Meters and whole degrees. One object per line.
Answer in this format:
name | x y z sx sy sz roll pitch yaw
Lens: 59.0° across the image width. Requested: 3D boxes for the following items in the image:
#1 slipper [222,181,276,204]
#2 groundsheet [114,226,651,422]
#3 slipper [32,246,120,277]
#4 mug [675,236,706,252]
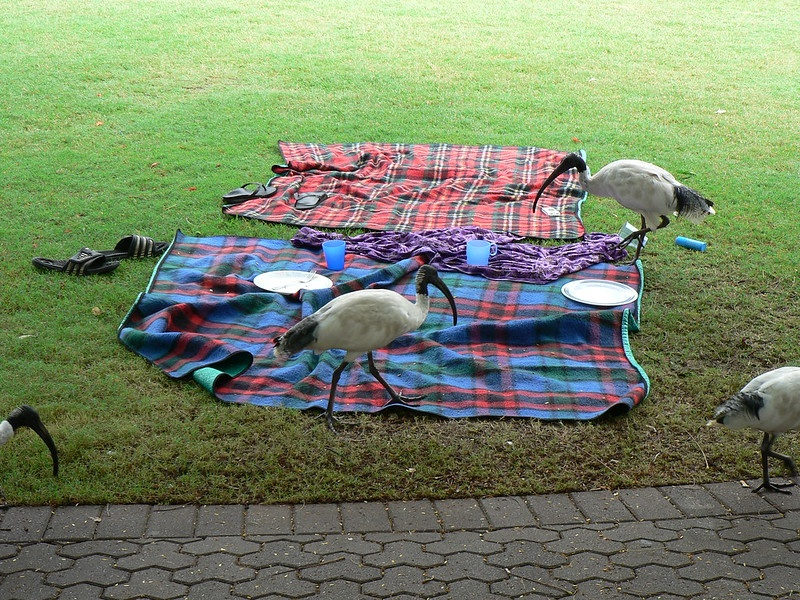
slipper | -2.223 -1.553 10.349 0.778 0.150 0.340 -14 30 -18
groundsheet | -0.208 0.064 7.422 5.358 0.169 2.498 2 44 5
slipper | -3.770 -0.426 8.195 0.960 0.201 0.455 -7 32 -15
mug | 3.687 -0.718 9.152 0.485 0.120 0.154 12 12 38
